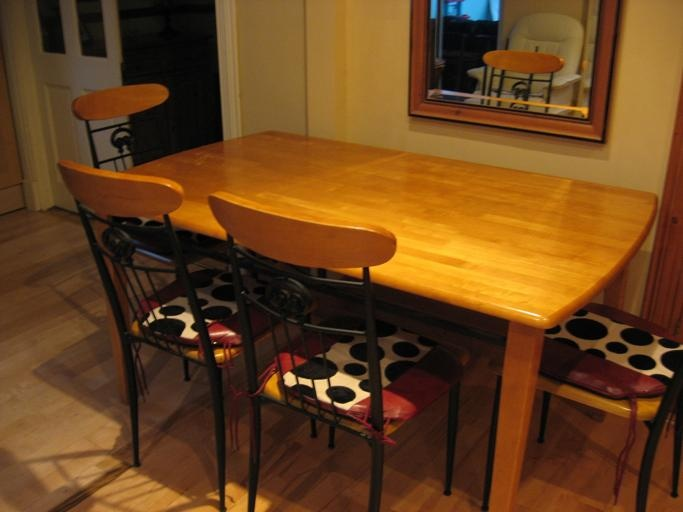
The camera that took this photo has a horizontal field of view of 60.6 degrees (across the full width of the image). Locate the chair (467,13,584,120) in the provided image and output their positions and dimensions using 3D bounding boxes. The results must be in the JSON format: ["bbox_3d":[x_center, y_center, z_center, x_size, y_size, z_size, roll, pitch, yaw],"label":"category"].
[{"bbox_3d":[0.802,-0.836,2.551,0.460,0.443,0.415,17,29,28],"label":"chair"}]
